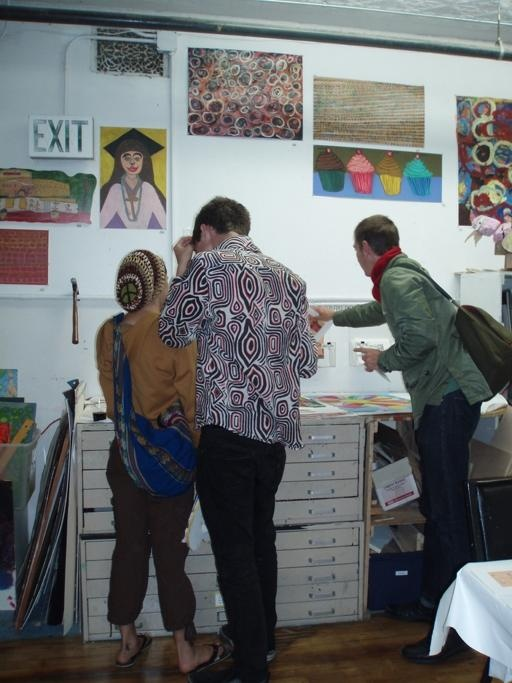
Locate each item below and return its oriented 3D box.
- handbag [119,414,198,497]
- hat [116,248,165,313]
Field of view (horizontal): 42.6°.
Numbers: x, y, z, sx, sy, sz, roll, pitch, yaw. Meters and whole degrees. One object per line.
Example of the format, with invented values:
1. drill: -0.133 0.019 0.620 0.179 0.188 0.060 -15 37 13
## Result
1. handbag: -0.304 0.362 2.146 0.237 0.296 0.175 4 27 4
2. hat: -0.366 -0.188 2.159 0.182 0.194 0.072 15 2 33
